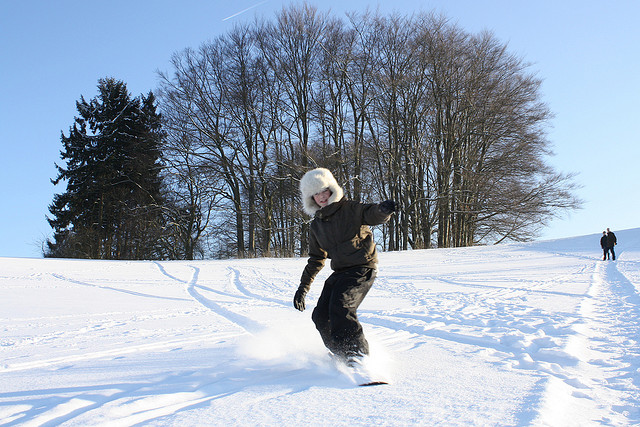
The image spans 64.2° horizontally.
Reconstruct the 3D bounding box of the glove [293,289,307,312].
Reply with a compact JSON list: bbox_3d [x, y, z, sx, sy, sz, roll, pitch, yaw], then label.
[{"bbox_3d":[-0.322,1.348,8.108,0.169,0.394,0.478,-1,6,0],"label":"glove"}]

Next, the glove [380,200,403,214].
[{"bbox_3d":[0.995,-0.096,7.014,0.235,0.174,0.094,1,42,34],"label":"glove"}]

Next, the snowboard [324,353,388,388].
[{"bbox_3d":[0.452,2.101,6.983,0.352,0.296,0.987,-6,8,-39],"label":"snowboard"}]
